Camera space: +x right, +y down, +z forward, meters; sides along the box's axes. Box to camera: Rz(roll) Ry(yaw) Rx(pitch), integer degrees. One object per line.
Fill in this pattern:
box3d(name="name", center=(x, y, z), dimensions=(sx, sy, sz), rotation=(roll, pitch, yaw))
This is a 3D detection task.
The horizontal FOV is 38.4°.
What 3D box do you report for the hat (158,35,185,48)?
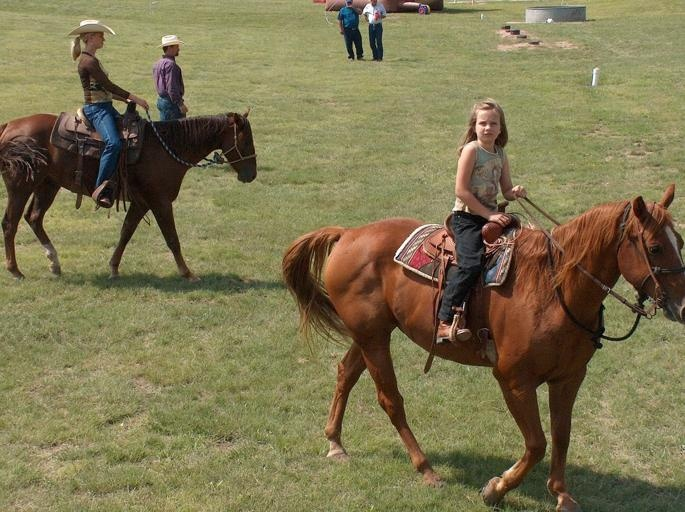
box3d(name="hat", center=(-3.719, -4.679, 21.371), dimensions=(0.335, 0.236, 0.384), rotation=(-4, 9, -13))
